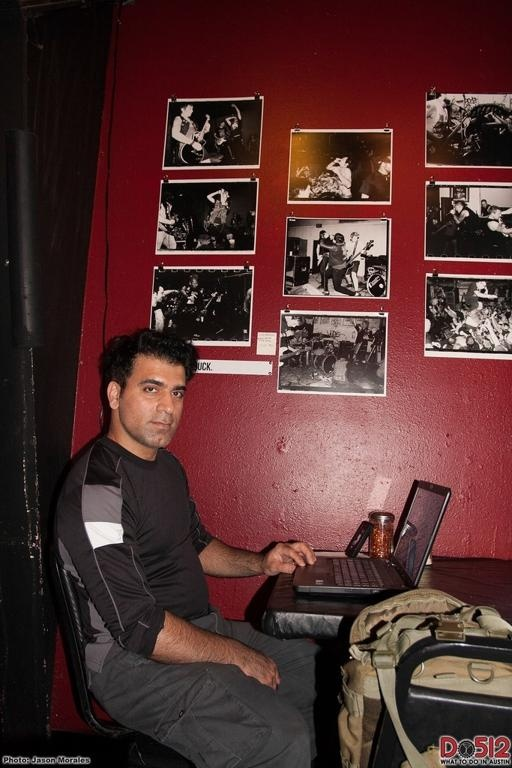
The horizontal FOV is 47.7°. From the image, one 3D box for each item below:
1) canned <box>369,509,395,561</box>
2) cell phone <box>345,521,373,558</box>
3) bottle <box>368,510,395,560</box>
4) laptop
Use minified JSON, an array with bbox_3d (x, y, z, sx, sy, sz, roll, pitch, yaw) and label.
[{"bbox_3d":[0.351,0.429,1.677,0.104,0.171,0.107,-1,-3,13],"label":"canned"},{"bbox_3d":[0.292,0.432,1.699,0.026,0.099,0.098,33,-21,15],"label":"cell phone"},{"bbox_3d":[0.366,0.436,1.664,0.076,0.125,0.077,3,-10,1],"label":"bottle"},{"bbox_3d":[0.299,0.416,1.453,0.281,0.200,0.322,-4,-3,9],"label":"laptop"}]
